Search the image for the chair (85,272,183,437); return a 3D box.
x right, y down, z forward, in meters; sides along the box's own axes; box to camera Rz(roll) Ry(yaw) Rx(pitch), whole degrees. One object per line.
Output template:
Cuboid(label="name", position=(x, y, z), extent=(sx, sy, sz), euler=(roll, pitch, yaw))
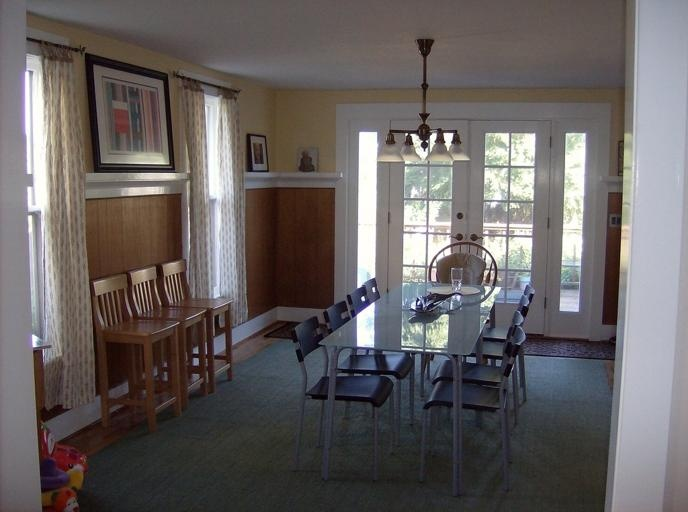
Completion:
Cuboid(label="chair", position=(-1.578, 0.707, 4.251), extent=(0.631, 1.123, 0.670), euler=(4, 10, 21))

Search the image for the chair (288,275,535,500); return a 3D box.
Cuboid(label="chair", position=(0.506, 0.698, 3.657), extent=(1.053, 0.729, 1.787), euler=(2, 5, 16))

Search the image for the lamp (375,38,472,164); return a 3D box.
Cuboid(label="lamp", position=(0.650, -1.266, 4.363), extent=(0.632, 0.919, 0.745), euler=(-4, 16, -12))
